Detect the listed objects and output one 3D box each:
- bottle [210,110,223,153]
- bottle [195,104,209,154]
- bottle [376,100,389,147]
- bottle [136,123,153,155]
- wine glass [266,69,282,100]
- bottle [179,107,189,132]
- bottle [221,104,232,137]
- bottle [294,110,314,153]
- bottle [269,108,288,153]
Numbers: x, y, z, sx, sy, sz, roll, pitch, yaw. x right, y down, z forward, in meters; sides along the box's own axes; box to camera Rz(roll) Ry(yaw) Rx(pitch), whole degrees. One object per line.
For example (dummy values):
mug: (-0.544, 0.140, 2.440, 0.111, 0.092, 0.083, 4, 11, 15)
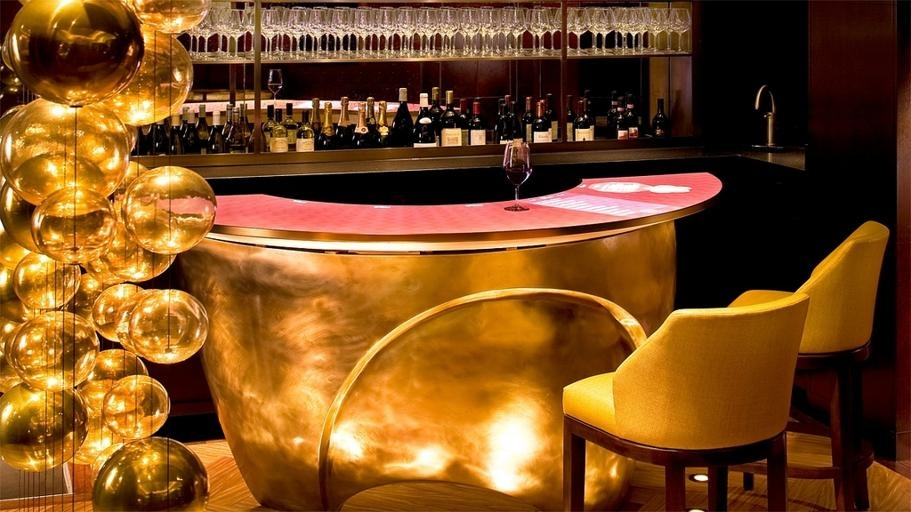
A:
bottle: (-1.552, -0.818, 5.145, 0.086, 0.251, 0.143, -2, 12, -15)
bottle: (-1.634, -0.835, 5.121, 0.088, 0.304, 0.102, -3, 12, -20)
bottle: (-0.487, -0.901, 5.322, 0.083, 0.278, 0.274, 0, 11, -6)
bottle: (-1.944, -0.731, 4.955, 0.067, 0.167, 0.170, -4, 13, -26)
wine glass: (-1.179, -1.132, 5.169, 0.098, 0.197, 0.261, -2, 12, -13)
bottle: (-1.704, -0.865, 4.997, 0.039, 0.141, 0.133, -7, 14, -36)
bottle: (-1.487, -0.882, 5.123, 0.070, 0.182, 0.165, -6, 13, -30)
bottle: (-0.982, -0.824, 5.165, 0.121, 0.238, 0.415, -1, 12, -11)
bottle: (-1.135, -0.809, 5.061, 0.108, 0.260, 0.245, -2, 12, -14)
